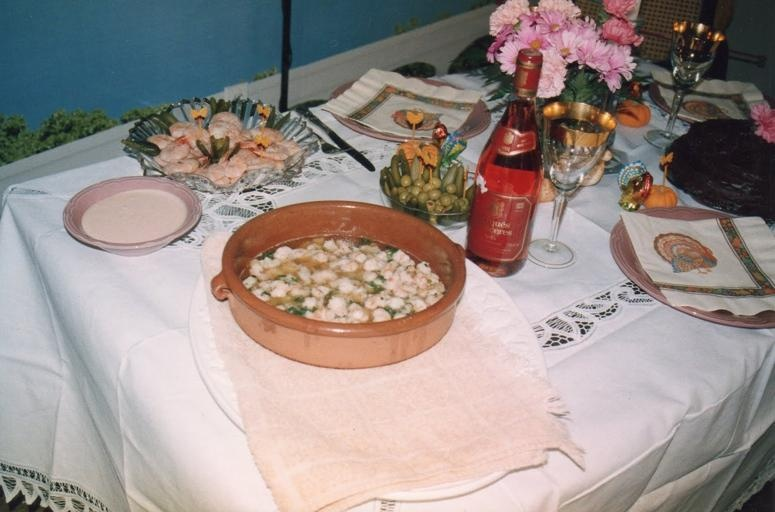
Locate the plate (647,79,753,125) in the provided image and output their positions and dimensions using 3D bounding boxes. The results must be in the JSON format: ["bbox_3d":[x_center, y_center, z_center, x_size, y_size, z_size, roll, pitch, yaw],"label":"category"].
[{"bbox_3d":[1.078,-0.522,1.953,0.272,0.124,0.331,16,28,34],"label":"plate"}]

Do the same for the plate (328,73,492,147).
[{"bbox_3d":[0.069,-0.480,1.849,0.392,0.041,0.353,-1,35,-9],"label":"plate"}]

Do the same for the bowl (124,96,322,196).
[{"bbox_3d":[-0.451,-0.319,1.591,0.401,0.079,0.386,5,35,-3],"label":"bowl"}]

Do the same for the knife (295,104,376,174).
[{"bbox_3d":[-0.157,-0.347,1.725,0.055,0.041,0.373,-17,47,-37],"label":"knife"}]

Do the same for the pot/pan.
[{"bbox_3d":[-0.095,0.031,1.224,0.484,0.117,0.472,15,35,14],"label":"pot/pan"}]

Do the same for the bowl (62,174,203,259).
[{"bbox_3d":[-0.626,-0.097,1.403,0.258,0.063,0.241,3,46,-4],"label":"bowl"}]
